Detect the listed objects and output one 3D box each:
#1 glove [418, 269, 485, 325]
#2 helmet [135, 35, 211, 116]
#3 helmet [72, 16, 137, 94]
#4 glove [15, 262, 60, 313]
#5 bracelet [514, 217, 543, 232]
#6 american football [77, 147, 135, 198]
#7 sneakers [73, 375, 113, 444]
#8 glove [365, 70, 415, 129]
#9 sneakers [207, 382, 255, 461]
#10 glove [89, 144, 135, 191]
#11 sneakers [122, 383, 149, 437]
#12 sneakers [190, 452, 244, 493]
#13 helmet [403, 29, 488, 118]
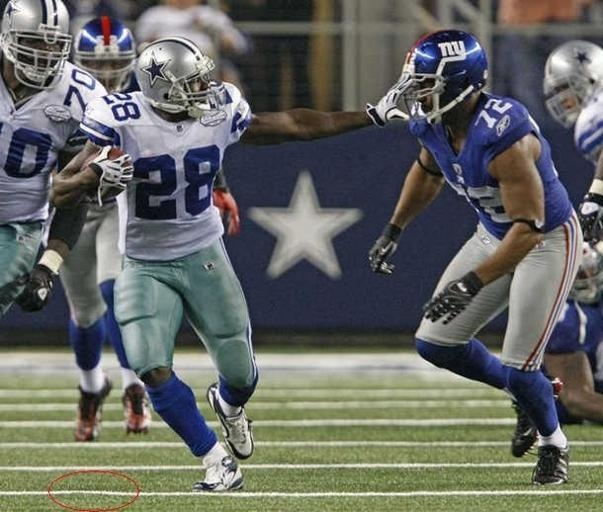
[{"bbox_3d":[0.623,0.174,4.083,0.146,0.269,0.080,43,19,14],"label":"glove"},{"bbox_3d":[-0.539,-0.786,4.268,0.358,0.308,0.270,3,29,6],"label":"helmet"},{"bbox_3d":[-1.151,-1.197,5.739,0.344,0.388,0.463,-3,31,-15],"label":"helmet"},{"bbox_3d":[-1.152,0.157,4.311,0.092,0.208,0.147,23,4,-9],"label":"glove"},{"bbox_3d":[0.931,-0.124,4.048,0.117,0.058,0.043,1,4,11],"label":"bracelet"},{"bbox_3d":[-0.792,-0.345,4.084,0.101,0.181,0.214,1,-20,-42],"label":"american football"},{"bbox_3d":[-1.128,0.832,5.369,0.111,0.339,0.144,4,-14,-1],"label":"sneakers"},{"bbox_3d":[0.406,-0.705,4.602,0.119,0.263,0.200,28,3,-17],"label":"glove"},{"bbox_3d":[-0.308,0.808,4.679,0.148,0.411,0.161,-27,17,-19],"label":"sneakers"},{"bbox_3d":[-0.765,-0.364,4.092,0.199,0.181,0.178,-3,5,-37],"label":"glove"},{"bbox_3d":[-0.895,0.820,5.322,0.107,0.297,0.132,-5,-18,-7],"label":"sneakers"},{"bbox_3d":[-0.367,0.930,4.232,0.236,0.160,0.079,-1,-14,-38],"label":"sneakers"},{"bbox_3d":[0.640,-0.802,4.351,0.398,0.371,0.336,-5,16,5],"label":"helmet"}]
